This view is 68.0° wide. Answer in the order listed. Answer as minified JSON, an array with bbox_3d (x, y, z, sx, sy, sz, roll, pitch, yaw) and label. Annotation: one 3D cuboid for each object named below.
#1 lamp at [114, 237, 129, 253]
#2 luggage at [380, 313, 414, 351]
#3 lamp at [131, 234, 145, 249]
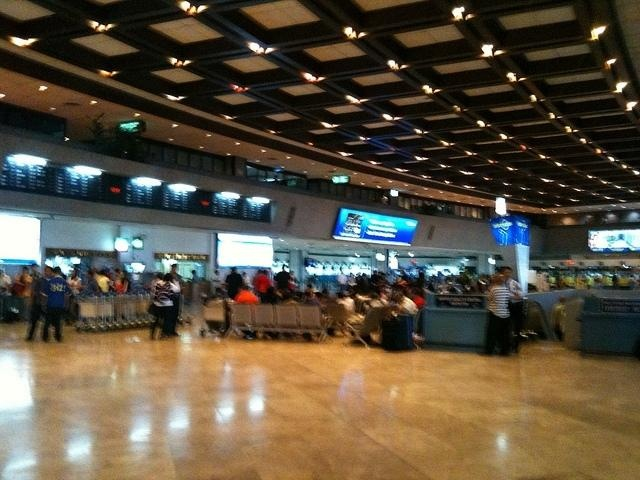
[{"bbox_3d":[-8.893,0.213,21.609,0.685,0.600,0.609,1,-7,-8],"label":"lamp"},{"bbox_3d":[1.714,2.205,11.266,0.741,0.828,0.551,1,-2,4],"label":"luggage"},{"bbox_3d":[-8.418,0.095,22.173,0.267,0.690,0.696,0,-2,40],"label":"lamp"}]
